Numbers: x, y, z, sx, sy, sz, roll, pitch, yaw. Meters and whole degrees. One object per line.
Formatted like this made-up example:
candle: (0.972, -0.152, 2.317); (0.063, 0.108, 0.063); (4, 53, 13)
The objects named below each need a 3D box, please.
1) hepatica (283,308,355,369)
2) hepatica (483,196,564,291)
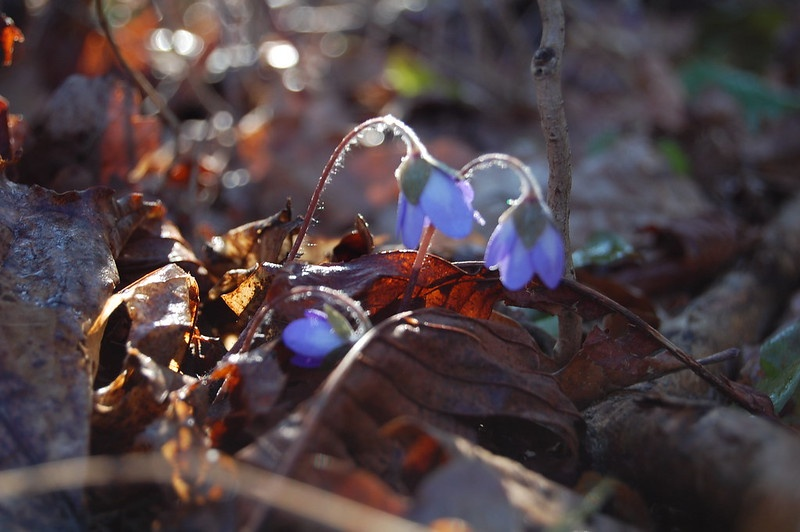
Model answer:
hepatica: (-0.258, 0.223, 2.475); (0.190, 0.046, 0.192); (39, 69, 19)
hepatica: (0.387, -0.073, 2.460); (0.233, 0.273, 0.138); (12, 18, 7)
